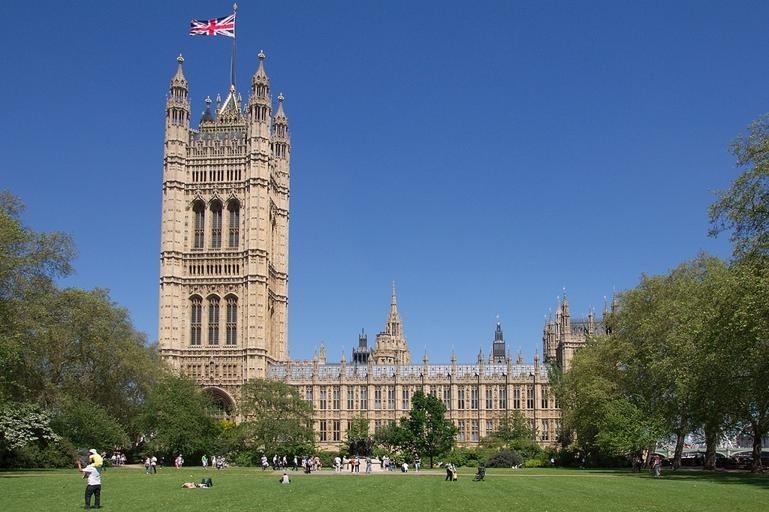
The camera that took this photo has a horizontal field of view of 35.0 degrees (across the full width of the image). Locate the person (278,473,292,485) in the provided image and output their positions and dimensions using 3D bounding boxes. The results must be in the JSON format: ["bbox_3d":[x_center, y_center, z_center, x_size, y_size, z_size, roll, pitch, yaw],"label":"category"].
[{"bbox_3d":[-8.165,18.088,98.881,0.959,0.869,1.113,1,-9,1],"label":"person"}]
